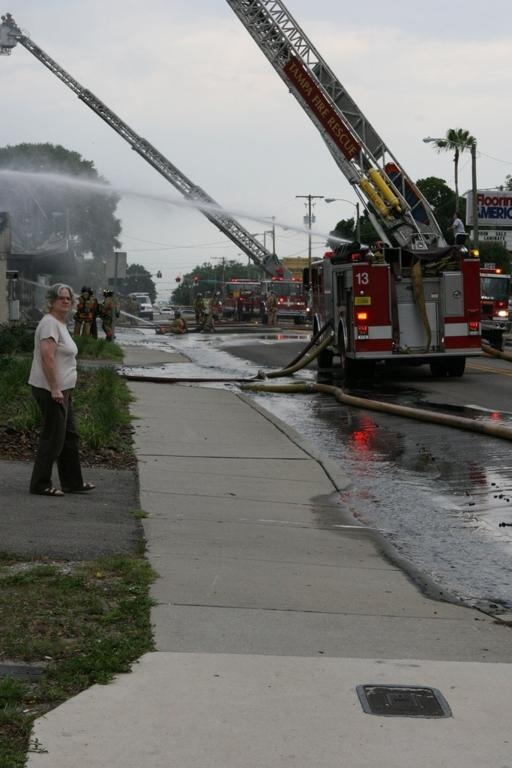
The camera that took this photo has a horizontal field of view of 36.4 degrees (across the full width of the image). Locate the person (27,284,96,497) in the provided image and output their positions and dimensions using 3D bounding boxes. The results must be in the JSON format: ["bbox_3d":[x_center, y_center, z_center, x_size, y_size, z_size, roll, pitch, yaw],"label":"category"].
[{"bbox_3d":[-1.536,0.045,6.043,0.469,1.646,0.478,9,5,26],"label":"person"}]

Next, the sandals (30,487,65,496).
[{"bbox_3d":[-1.590,0.827,5.920,0.229,0.063,0.084,-1,2,-5],"label":"sandals"}]
